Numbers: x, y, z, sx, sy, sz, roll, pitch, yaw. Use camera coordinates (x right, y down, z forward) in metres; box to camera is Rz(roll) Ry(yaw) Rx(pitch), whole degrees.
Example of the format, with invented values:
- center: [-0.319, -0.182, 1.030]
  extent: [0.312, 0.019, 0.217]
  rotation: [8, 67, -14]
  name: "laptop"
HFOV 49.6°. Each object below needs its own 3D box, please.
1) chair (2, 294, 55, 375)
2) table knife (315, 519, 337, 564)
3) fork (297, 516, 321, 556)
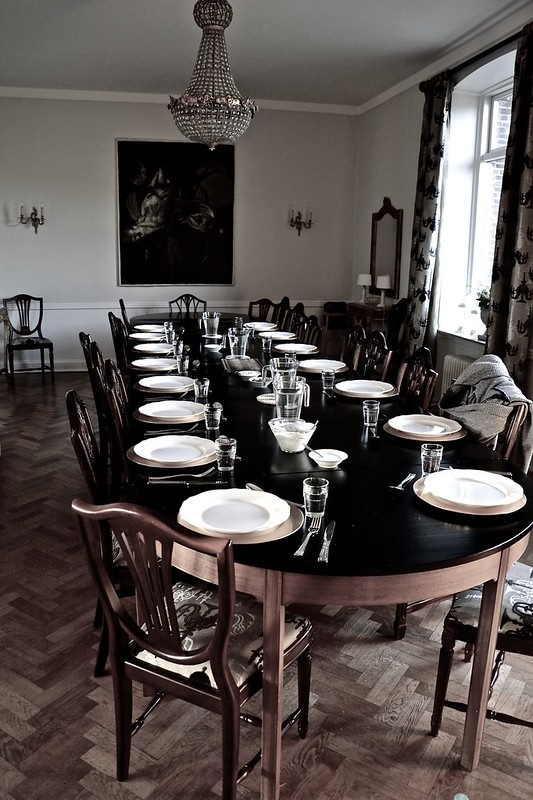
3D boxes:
- center: [-2.574, -0.679, 6.231]
  extent: [0.493, 0.899, 0.910]
  rotation: [-6, 14, -20]
  name: "chair"
- center: [0.114, 0.272, 1.087]
  extent: [0.017, 0.008, 0.097]
  rotation: [6, 23, 11]
  name: "table knife"
- center: [0.091, 0.262, 1.126]
  extent: [0.020, 0.021, 0.146]
  rotation: [8, 31, 18]
  name: "fork"
